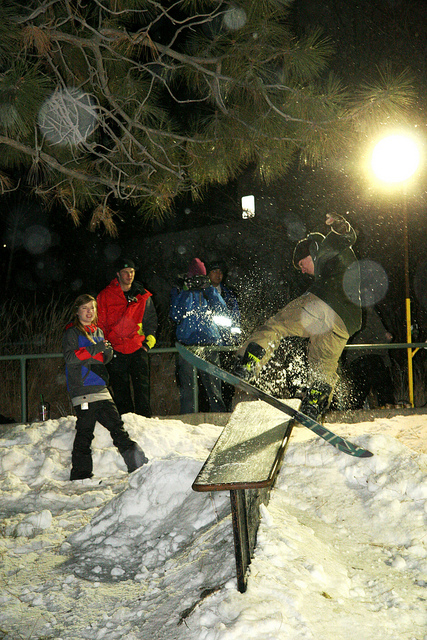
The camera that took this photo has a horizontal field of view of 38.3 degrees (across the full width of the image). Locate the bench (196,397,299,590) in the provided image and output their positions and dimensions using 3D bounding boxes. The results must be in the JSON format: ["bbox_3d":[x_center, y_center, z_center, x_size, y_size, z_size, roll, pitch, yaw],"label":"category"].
[{"bbox_3d":[0.221,0.819,3.198,0.435,0.684,1.395,-1,-6,7],"label":"bench"}]

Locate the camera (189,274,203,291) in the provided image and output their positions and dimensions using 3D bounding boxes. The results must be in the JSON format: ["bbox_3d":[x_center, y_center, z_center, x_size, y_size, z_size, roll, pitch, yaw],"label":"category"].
[{"bbox_3d":[-0.156,-0.383,6.200,0.151,0.142,0.054,-2,4,-19],"label":"camera"}]

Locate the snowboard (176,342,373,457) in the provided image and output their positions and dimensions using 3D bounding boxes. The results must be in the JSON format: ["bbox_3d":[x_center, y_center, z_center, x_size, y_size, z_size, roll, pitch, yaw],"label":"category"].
[{"bbox_3d":[0.545,0.646,5.297,1.712,0.132,0.191,30,33,16],"label":"snowboard"}]

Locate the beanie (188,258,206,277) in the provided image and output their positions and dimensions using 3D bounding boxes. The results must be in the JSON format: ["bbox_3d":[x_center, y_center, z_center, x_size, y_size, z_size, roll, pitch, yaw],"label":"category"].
[{"bbox_3d":[-0.171,-0.546,6.364,0.178,0.230,0.220,0,-5,-1],"label":"beanie"}]

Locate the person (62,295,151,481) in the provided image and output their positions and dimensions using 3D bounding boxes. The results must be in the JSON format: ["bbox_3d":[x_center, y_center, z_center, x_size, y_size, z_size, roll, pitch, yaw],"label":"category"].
[{"bbox_3d":[-0.867,0.506,4.759,0.576,1.387,0.265,1,-5,-14],"label":"person"}]

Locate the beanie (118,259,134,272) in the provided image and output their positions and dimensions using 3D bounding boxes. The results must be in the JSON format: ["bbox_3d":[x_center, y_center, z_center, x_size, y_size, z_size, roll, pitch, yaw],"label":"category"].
[{"bbox_3d":[-0.841,-0.539,5.938,0.116,0.126,0.197,1,-6,-15],"label":"beanie"}]

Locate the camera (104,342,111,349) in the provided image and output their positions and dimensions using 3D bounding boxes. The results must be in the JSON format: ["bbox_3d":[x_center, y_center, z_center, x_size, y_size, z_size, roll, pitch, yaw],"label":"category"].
[{"bbox_3d":[-0.833,0.190,4.817,0.017,0.041,0.043,-3,-8,20],"label":"camera"}]
